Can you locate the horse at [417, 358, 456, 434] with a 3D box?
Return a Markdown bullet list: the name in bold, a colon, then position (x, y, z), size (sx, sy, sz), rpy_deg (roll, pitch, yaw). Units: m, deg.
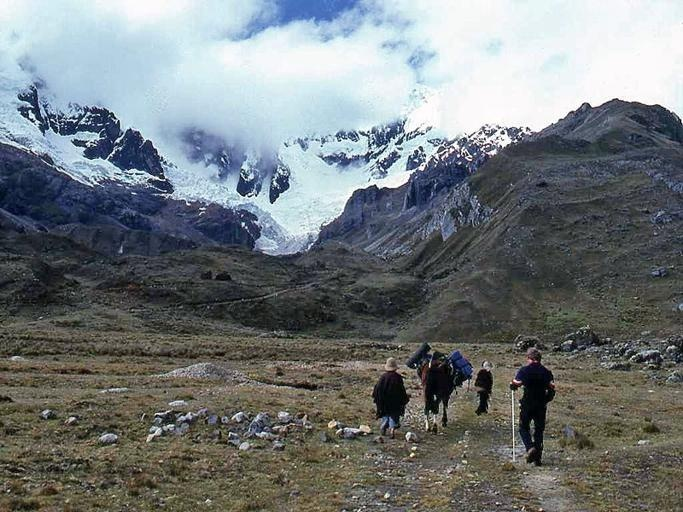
- **horse**: position (5.652, 8.079, 34.400), size (1.619, 4.524, 1.843), rpy_deg (2, -4, 19)
